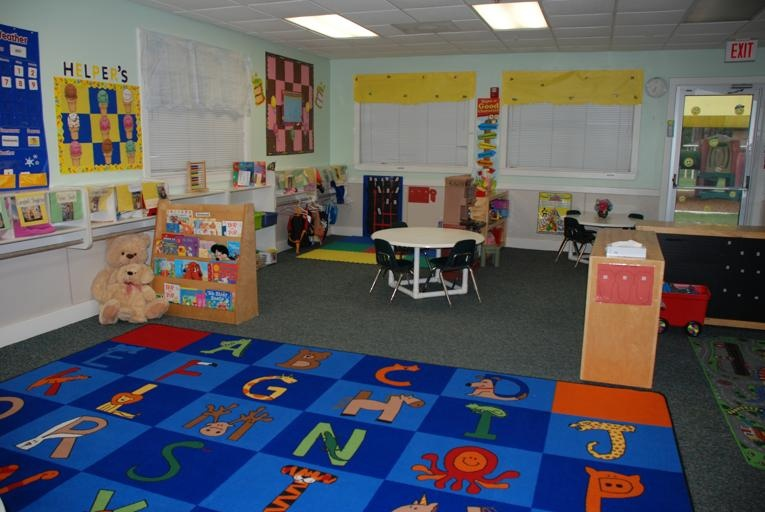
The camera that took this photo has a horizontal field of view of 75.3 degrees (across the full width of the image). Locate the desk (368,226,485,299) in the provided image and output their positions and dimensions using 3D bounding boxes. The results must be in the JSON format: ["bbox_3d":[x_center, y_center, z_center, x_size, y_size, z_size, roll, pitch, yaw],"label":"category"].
[{"bbox_3d":[0.857,0.065,7.939,1.613,0.710,1.471,-3,-1,-11],"label":"desk"}]

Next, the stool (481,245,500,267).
[{"bbox_3d":[2.019,-0.010,9.323,0.452,0.370,0.415,1,8,6],"label":"stool"}]

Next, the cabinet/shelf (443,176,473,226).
[{"bbox_3d":[1.287,-0.951,8.798,0.405,0.863,0.374,3,16,18],"label":"cabinet/shelf"}]

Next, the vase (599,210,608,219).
[{"bbox_3d":[3.992,-0.745,8.955,0.166,0.103,0.151,-1,4,-2],"label":"vase"}]

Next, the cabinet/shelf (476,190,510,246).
[{"bbox_3d":[2.072,-0.752,9.475,0.419,0.900,1.224,3,9,25],"label":"cabinet/shelf"}]

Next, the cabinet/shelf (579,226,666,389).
[{"bbox_3d":[3.175,0.803,5.749,1.860,1.311,0.716,12,-9,-42],"label":"cabinet/shelf"}]
